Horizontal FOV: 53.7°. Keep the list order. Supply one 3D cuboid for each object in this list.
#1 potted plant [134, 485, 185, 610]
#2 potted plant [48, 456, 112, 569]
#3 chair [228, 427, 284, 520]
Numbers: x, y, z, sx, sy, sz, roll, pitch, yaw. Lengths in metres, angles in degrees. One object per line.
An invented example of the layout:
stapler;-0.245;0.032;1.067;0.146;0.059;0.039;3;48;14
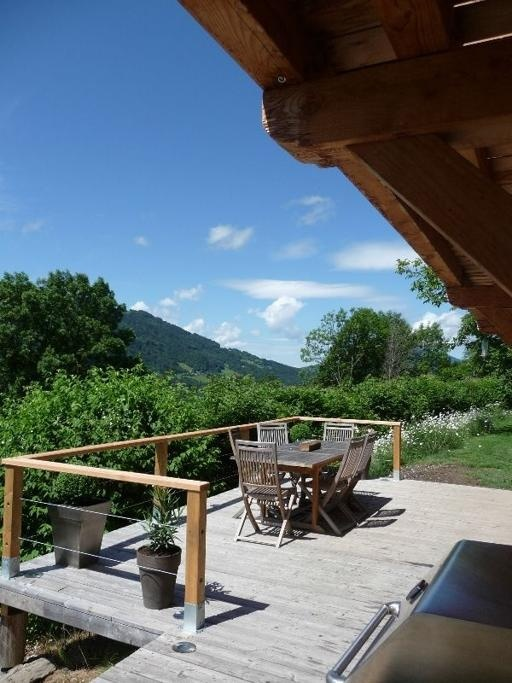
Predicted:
potted plant;-0.670;1.421;3.494;0.285;0.739;0.412;4;-4;-10
potted plant;-1.441;1.544;4.360;0.540;0.602;0.595;-4;-9;26
chair;0.020;1.458;5.313;0.678;0.922;1.209;3;-3;2
